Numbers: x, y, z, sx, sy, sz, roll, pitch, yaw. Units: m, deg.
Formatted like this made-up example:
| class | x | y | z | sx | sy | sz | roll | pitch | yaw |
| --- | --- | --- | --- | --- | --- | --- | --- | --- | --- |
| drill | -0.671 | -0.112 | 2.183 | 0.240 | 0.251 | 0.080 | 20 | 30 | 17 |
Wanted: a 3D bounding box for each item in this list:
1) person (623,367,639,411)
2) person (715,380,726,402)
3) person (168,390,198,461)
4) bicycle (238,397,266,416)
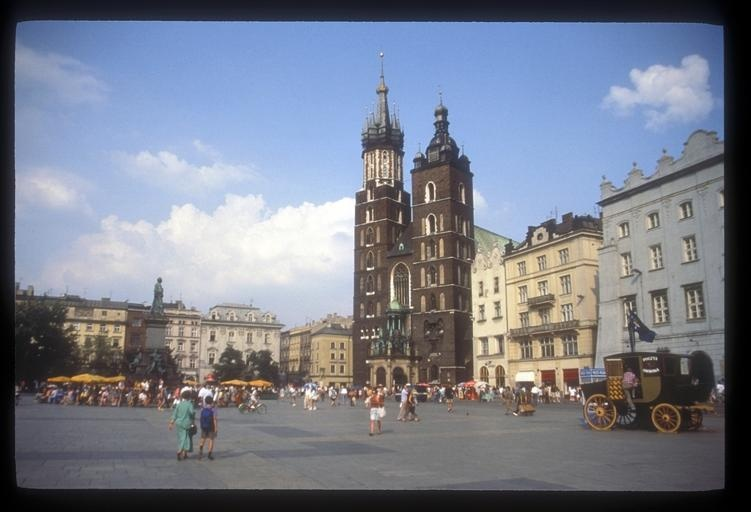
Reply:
| class | x | y | z | sx | sy | sz | roll | pitch | yaw |
| --- | --- | --- | --- | --- | --- | --- | --- | --- | --- |
| person | 9.549 | 4.966 | 23.216 | 0.521 | 1.442 | 0.413 | -3 | -15 | 22 |
| person | 19.329 | 7.712 | 34.930 | 0.385 | 1.152 | 1.279 | -2 | -15 | 19 |
| person | -5.468 | 4.819 | 17.703 | 0.669 | 1.961 | 1.216 | 6 | -14 | -17 |
| bicycle | -7.510 | 9.412 | 38.271 | 1.839 | 1.156 | 0.905 | 4 | -2 | -16 |
